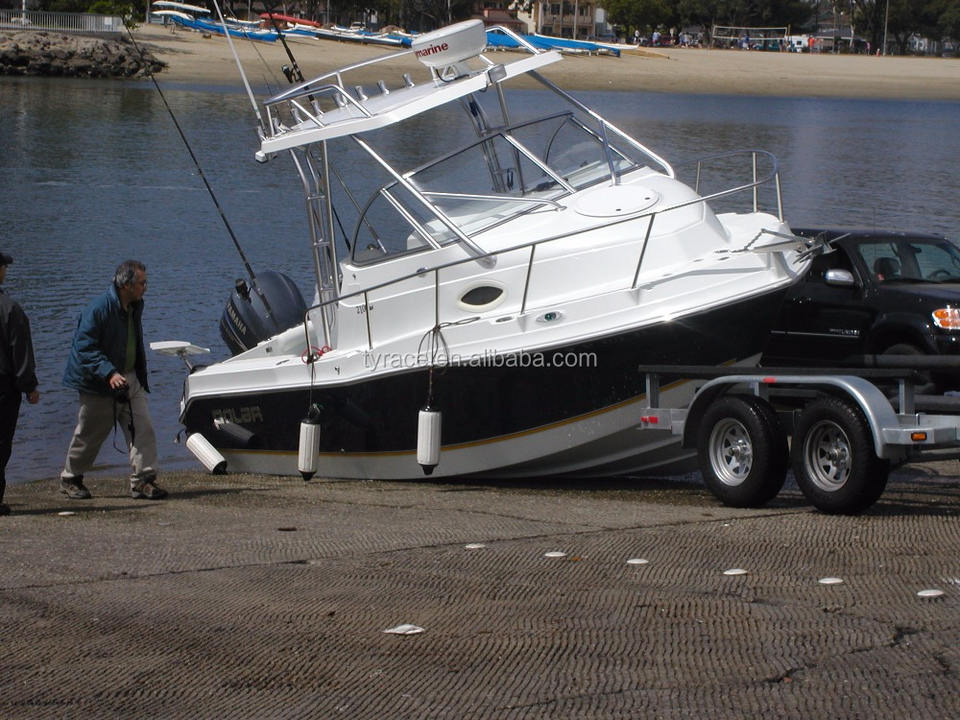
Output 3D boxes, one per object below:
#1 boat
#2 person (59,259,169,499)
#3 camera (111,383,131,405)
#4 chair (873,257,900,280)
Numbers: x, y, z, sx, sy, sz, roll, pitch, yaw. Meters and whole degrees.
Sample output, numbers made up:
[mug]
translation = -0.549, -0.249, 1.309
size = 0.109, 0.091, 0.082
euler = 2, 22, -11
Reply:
[boat]
translation = -0.041, -0.882, 11.458
size = 5.492, 4.214, 1.960
euler = 3, 11, 24
[person]
translation = -2.940, 0.207, 10.263
size = 0.767, 1.946, 0.763
euler = -5, 11, -17
[camera]
translation = -2.773, 0.268, 10.059
size = 0.130, 0.141, 0.161
euler = 3, -11, -30
[chair]
translation = 3.966, -0.869, 12.638
size = 0.212, 0.263, 0.152
euler = 2, -26, 10
